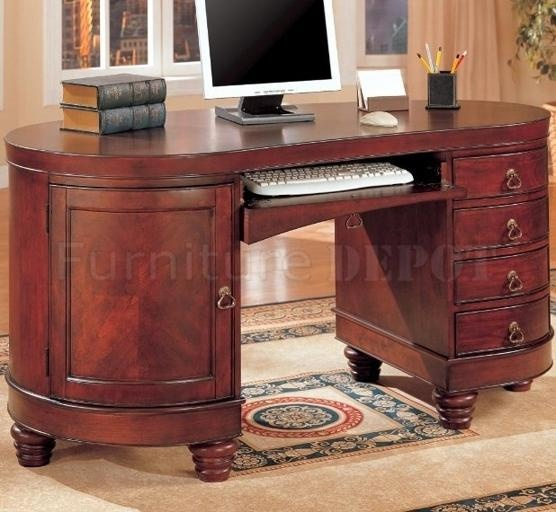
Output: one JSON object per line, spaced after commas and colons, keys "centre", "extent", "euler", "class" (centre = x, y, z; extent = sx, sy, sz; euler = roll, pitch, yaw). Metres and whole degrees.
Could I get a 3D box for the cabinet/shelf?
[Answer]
{"centre": [0.035, 0.035, 1.823], "extent": [1.567, 1.042, 0.582], "euler": [-5, 10, -26], "class": "cabinet/shelf"}
